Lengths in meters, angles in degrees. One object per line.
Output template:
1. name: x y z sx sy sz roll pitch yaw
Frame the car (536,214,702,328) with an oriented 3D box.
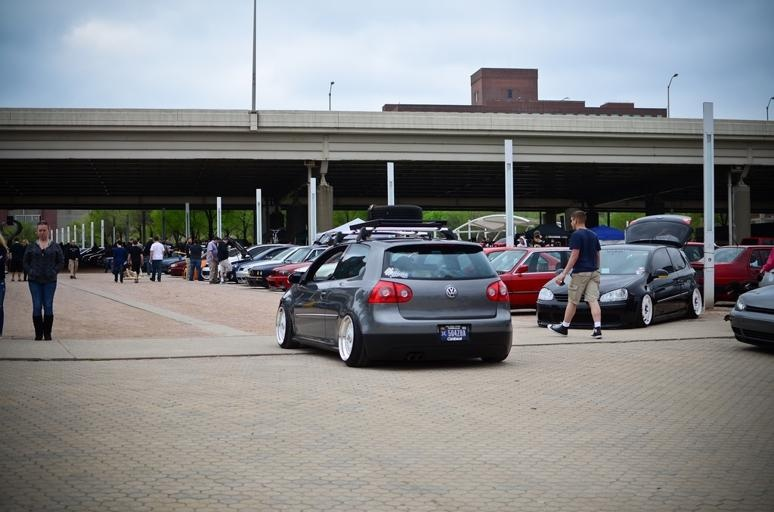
1. car: 5.483 0.148 18.005 3.020 2.564 5.088 -4 -5 44

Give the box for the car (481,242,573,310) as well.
1. car: 3.520 0.471 19.271 2.331 0.926 1.412 1 -1 -10

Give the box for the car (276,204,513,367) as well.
1. car: 0.154 0.548 12.206 2.318 2.240 3.214 -3 3 -35

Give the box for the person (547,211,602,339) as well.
1. person: 3.575 0.353 14.397 0.837 2.381 0.723 -1 3 11
